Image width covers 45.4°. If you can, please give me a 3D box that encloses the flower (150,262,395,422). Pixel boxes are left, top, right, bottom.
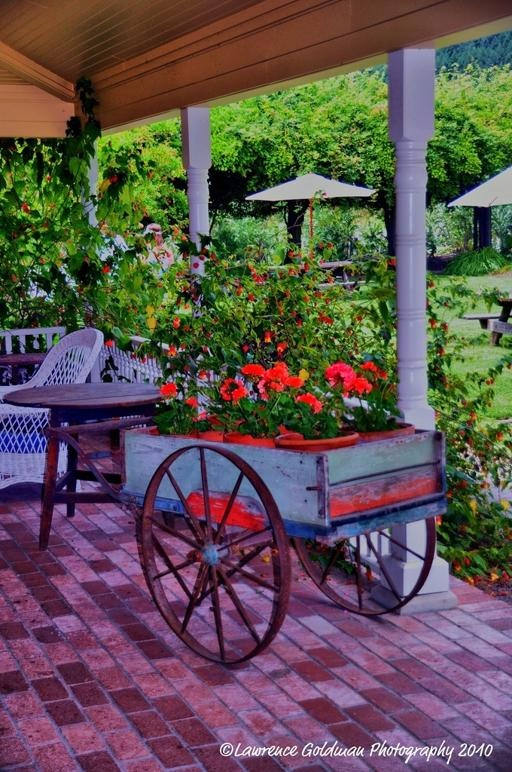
[{"bbox_3d":[0.129,-0.204,2.921,0.785,0.669,1.176,-4,7,-38],"label":"flower"}]

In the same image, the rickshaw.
[{"bbox_3d":[-0.134,0.529,2.322,1.431,0.674,0.792,0,-2,43],"label":"rickshaw"}]
